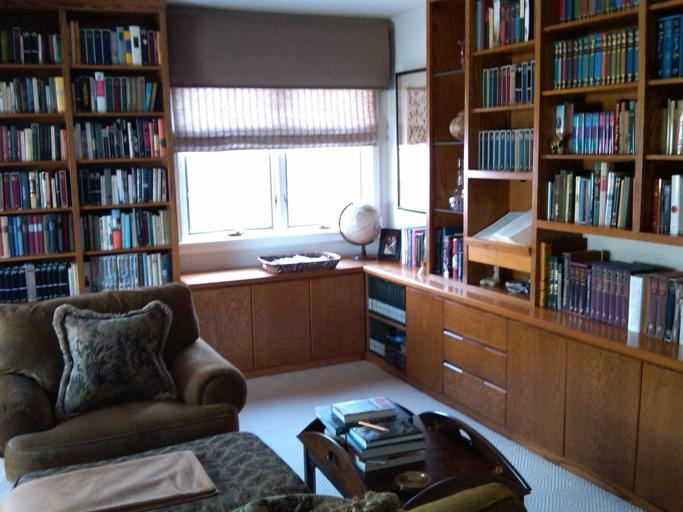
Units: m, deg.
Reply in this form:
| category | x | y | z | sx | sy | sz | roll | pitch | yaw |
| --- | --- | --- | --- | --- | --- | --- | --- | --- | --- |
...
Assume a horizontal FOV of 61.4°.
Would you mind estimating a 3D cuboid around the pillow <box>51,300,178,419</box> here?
| category | x | y | z | sx | sy | sz | roll | pitch | yaw |
| --- | --- | --- | --- | --- | --- | --- | --- | --- | --- |
| pillow | -1.270 | 0.596 | 3.196 | 0.472 | 0.494 | 0.184 | -4 | -20 | -19 |

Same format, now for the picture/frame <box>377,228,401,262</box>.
| category | x | y | z | sx | sy | sz | roll | pitch | yaw |
| --- | --- | --- | --- | --- | --- | --- | --- | --- | --- |
| picture/frame | 0.435 | -0.096 | 5.201 | 0.257 | 0.363 | 0.035 | 3 | -1 | 30 |

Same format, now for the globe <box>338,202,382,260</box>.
| category | x | y | z | sx | sy | sz | roll | pitch | yaw |
| --- | --- | --- | --- | --- | --- | --- | --- | --- | --- |
| globe | 0.163 | -0.210 | 5.139 | 0.389 | 0.601 | 0.359 | 2 | 5 | 5 |

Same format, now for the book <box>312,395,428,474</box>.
| category | x | y | z | sx | sy | sz | roll | pitch | yaw |
| --- | --- | --- | --- | --- | --- | --- | --- | --- | --- |
| book | 0.200 | 0.837 | 2.715 | 0.307 | 0.088 | 0.325 | -8 | 23 | -25 |
